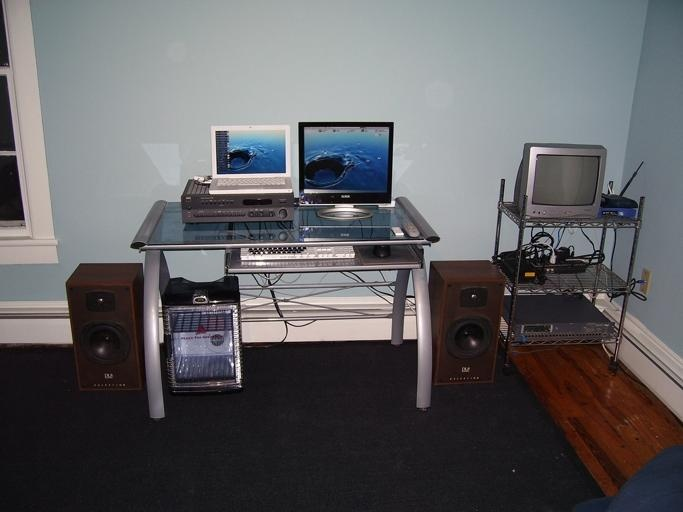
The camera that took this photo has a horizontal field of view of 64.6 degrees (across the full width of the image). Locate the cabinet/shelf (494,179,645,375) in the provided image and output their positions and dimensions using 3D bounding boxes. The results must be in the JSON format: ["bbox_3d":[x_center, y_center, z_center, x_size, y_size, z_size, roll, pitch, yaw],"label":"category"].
[{"bbox_3d":[1.468,0.132,3.583,0.743,0.987,0.617,2,5,8],"label":"cabinet/shelf"}]

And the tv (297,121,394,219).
[{"bbox_3d":[0.023,-0.527,3.256,0.570,0.542,0.222,0,12,-1],"label":"tv"}]

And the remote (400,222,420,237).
[{"bbox_3d":[0.391,-0.144,3.076,0.093,0.037,0.191,0,17,-1],"label":"remote"}]

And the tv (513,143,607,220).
[{"bbox_3d":[1.319,-0.494,3.383,0.465,0.418,0.465,1,13,1],"label":"tv"}]

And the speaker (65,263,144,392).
[{"bbox_3d":[-1.351,0.432,3.196,0.395,0.709,0.265,-2,17,-6],"label":"speaker"}]

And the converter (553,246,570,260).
[{"bbox_3d":[1.463,-0.020,3.605,0.073,0.047,0.103,0,9,2],"label":"converter"}]

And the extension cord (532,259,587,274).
[{"bbox_3d":[1.433,0.073,3.445,0.166,0.040,0.171,0,14,2],"label":"extension cord"}]

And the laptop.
[{"bbox_3d":[-0.527,-0.560,3.108,0.498,0.319,0.379,-4,20,-11],"label":"laptop"}]

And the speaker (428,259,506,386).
[{"bbox_3d":[0.751,0.422,3.330,0.436,0.699,0.336,3,17,8],"label":"speaker"}]

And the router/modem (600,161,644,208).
[{"bbox_3d":[1.742,-0.470,3.412,0.268,0.318,0.190,5,12,3],"label":"router/modem"}]
